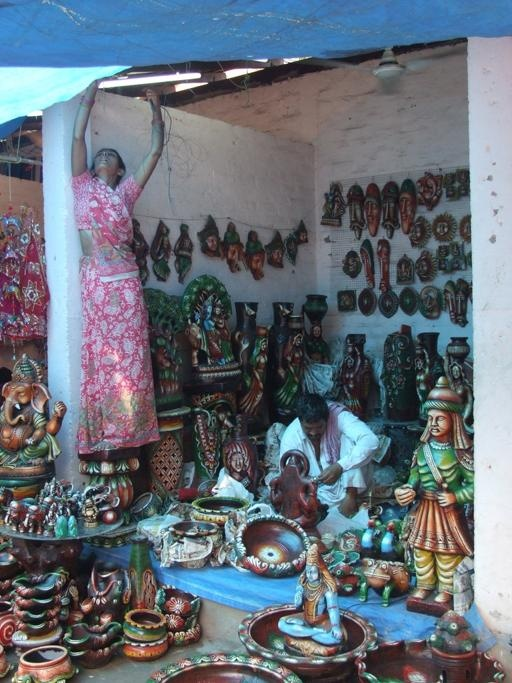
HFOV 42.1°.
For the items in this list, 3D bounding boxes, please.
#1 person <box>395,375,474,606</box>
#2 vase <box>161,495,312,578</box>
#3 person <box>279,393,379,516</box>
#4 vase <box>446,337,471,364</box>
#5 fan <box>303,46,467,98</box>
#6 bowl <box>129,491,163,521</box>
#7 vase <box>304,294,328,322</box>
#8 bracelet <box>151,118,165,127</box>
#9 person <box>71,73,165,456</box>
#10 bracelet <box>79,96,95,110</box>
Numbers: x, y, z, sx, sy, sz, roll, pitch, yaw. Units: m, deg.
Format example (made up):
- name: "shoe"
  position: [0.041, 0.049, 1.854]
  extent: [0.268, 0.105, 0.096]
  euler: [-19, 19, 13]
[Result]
- name: "person"
  position: [0.777, 0.631, 2.857]
  extent: [0.311, 0.962, 0.176]
  euler: [-1, 2, 44]
- name: "vase"
  position: [-0.042, 1.009, 3.431]
  extent: [0.553, 0.122, 0.372]
  euler: [14, 25, 23]
- name: "person"
  position: [0.475, 0.724, 4.345]
  extent: [0.672, 0.714, 0.596]
  euler: [-9, 10, 39]
- name: "vase"
  position: [1.460, 0.047, 4.902]
  extent: [0.183, 0.177, 0.199]
  euler: [2, -3, -44]
- name: "fan"
  position: [1.249, -2.680, 6.406]
  extent: [0.952, 0.293, 0.892]
  euler: [-3, 3, -30]
- name: "bowl"
  position: [-0.725, 1.069, 4.374]
  extent: [0.193, 0.099, 0.285]
  euler: [-2, 1, -6]
- name: "vase"
  position: [0.612, -0.340, 6.637]
  extent: [0.273, 0.281, 0.268]
  euler: [4, 7, 16]
- name: "bracelet"
  position: [-0.655, -1.460, 4.454]
  extent: [0.065, 0.027, 0.081]
  euler: [0, -1, -10]
- name: "person"
  position: [-0.915, -0.430, 4.218]
  extent: [0.487, 2.293, 0.338]
  euler: [-2, 1, -8]
- name: "bracelet"
  position: [-1.056, -1.503, 4.163]
  extent: [0.087, 0.090, 0.114]
  euler: [-2, 2, -16]
